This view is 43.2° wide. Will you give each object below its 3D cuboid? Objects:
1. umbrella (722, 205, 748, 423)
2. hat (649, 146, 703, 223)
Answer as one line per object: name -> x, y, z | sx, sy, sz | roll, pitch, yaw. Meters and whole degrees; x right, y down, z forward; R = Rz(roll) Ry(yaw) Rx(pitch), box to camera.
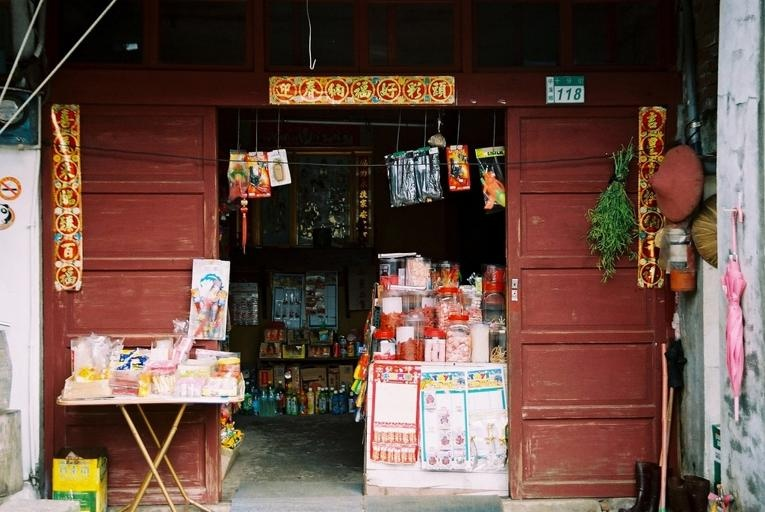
umbrella -> 2.829, 0.463, 7.828 | 0.082, 1.738, 0.224 | 0, -1, -21
hat -> 2.609, -0.639, 8.495 | 0.254, 0.603, 0.584 | 1, -26, -23
